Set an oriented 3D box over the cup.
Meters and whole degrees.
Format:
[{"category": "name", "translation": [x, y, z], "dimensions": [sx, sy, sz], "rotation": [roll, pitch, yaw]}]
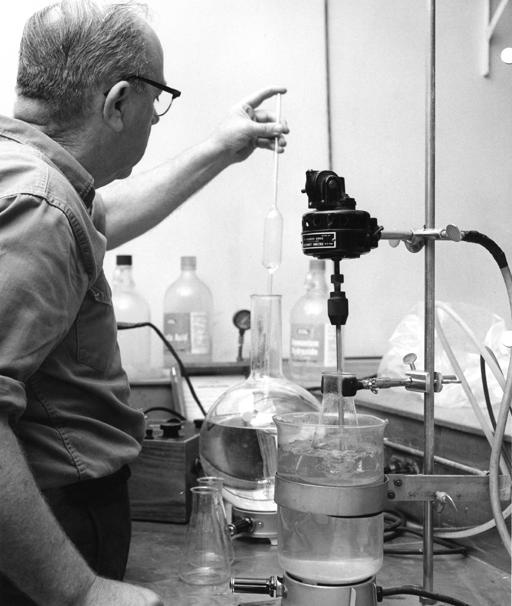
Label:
[{"category": "cup", "translation": [0.088, 0.238, 1.193], "dimensions": [0.154, 0.275, 0.168], "rotation": [0, -6, 0]}]
